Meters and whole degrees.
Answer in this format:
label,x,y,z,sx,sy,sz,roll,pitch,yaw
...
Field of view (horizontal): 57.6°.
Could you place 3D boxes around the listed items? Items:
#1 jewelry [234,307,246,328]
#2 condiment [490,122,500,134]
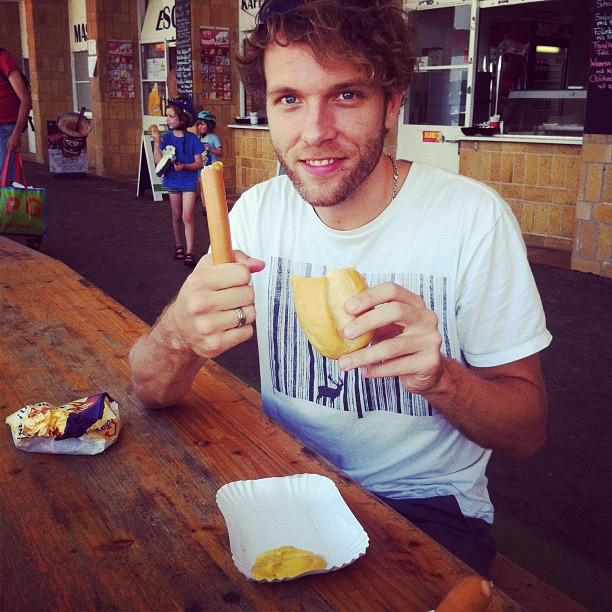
label,x,y,z,sx,sy,sz,roll,pitch,yaw
jewelry,-0.138,0.021,1.188,0.015,0.032,0.028,-4,5,-17
condiment,2.729,-2.590,8.031,0.122,0.127,0.118,-38,54,-16
